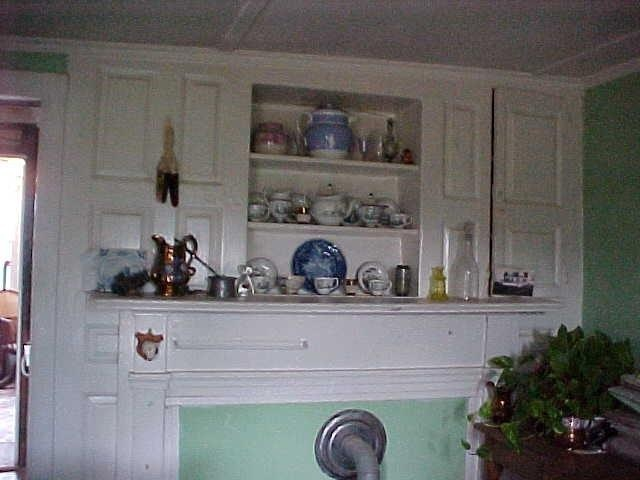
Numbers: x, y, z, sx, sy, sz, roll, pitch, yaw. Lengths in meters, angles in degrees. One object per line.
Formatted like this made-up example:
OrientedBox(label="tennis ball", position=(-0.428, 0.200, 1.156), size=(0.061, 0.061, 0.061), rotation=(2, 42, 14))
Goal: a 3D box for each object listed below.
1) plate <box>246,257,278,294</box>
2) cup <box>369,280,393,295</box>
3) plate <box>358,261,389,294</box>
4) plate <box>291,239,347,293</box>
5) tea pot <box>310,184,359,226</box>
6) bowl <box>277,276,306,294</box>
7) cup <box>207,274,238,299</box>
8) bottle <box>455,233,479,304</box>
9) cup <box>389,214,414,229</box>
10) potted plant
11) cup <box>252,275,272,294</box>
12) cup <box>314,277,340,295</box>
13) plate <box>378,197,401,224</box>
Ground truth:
OrientedBox(label="plate", position=(-0.186, 0.120, 1.809), size=(0.063, 0.105, 0.105), rotation=(-11, 8, 45))
OrientedBox(label="cup", position=(0.212, 0.159, 1.923), size=(0.066, 0.047, 0.053), rotation=(1, -2, 16))
OrientedBox(label="plate", position=(0.187, 0.133, 1.975), size=(0.093, 0.121, 0.054), rotation=(9, -9, -2))
OrientedBox(label="plate", position=(-0.011, 0.096, 1.988), size=(0.187, 0.189, 0.049), rotation=(1, -2, -9))
OrientedBox(label="tea pot", position=(0.043, -0.110, 1.943), size=(0.169, 0.153, 0.126), rotation=(3, -6, -21))
OrientedBox(label="bowl", position=(-0.095, 0.147, 1.849), size=(0.064, 0.046, 0.071), rotation=(0, -8, 1))
OrientedBox(label="cup", position=(-0.291, 0.135, 1.635), size=(0.068, 0.044, 0.070), rotation=(3, -8, 0))
OrientedBox(label="bottle", position=(0.464, 0.083, 1.808), size=(0.079, 0.214, 0.100), rotation=(3, -4, -23))
OrientedBox(label="cup", position=(0.289, -0.068, 1.961), size=(0.068, 0.046, 0.055), rotation=(2, 3, 29))
OrientedBox(label="potted plant", position=(0.551, 0.328, 1.260), size=(0.320, 0.289, 0.198), rotation=(17, 2, -24))
OrientedBox(label="cup", position=(-0.183, 0.140, 1.778), size=(0.054, 0.050, 0.053), rotation=(3, 8, 0))
OrientedBox(label="cup", position=(0.021, 0.152, 1.861), size=(0.072, 0.045, 0.052), rotation=(0, -2, 10))
OrientedBox(label="plate", position=(0.241, -0.100, 2.014), size=(0.098, 0.094, 0.062), rotation=(6, -22, -8))
